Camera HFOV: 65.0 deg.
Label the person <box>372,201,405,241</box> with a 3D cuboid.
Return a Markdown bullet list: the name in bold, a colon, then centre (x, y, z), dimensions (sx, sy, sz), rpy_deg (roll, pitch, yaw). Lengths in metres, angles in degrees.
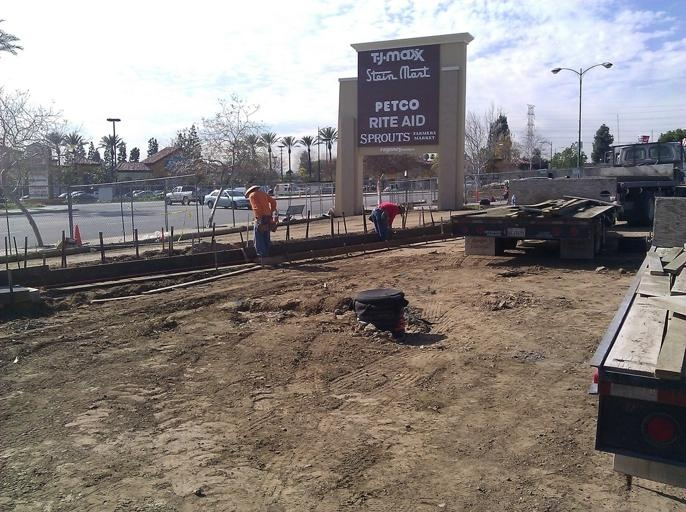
- **person**: centre (1.307, -1.025, 15.853), dimensions (0.831, 1.127, 1.052), rpy_deg (-4, 10, -12)

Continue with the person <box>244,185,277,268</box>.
- **person**: centre (-1.892, -0.760, 12.782), dimensions (0.615, 1.777, 0.934), rpy_deg (-4, 11, -10)

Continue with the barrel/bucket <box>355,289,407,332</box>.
- **barrel/bucket**: centre (0.523, 0.747, 7.700), dimensions (0.600, 0.515, 0.628), rpy_deg (-1, 4, 0)
